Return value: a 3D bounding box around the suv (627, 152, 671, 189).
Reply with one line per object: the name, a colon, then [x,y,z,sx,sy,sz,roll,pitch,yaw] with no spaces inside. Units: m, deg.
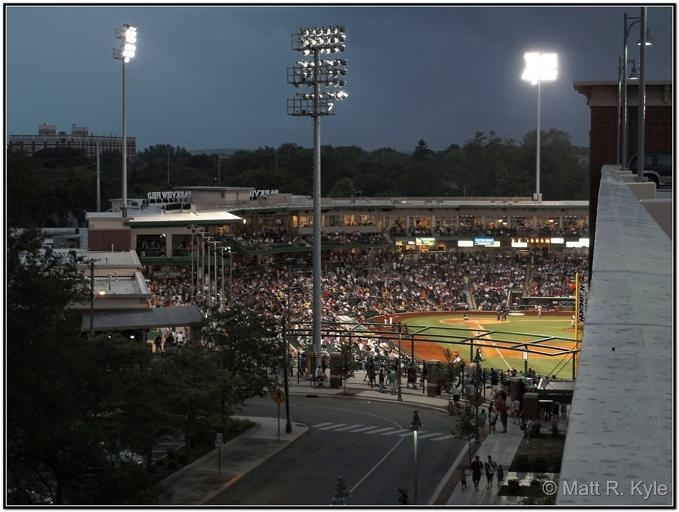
suv: [14.068,-3.876,41.336,1.557,1.596,2.476,11,9,44]
